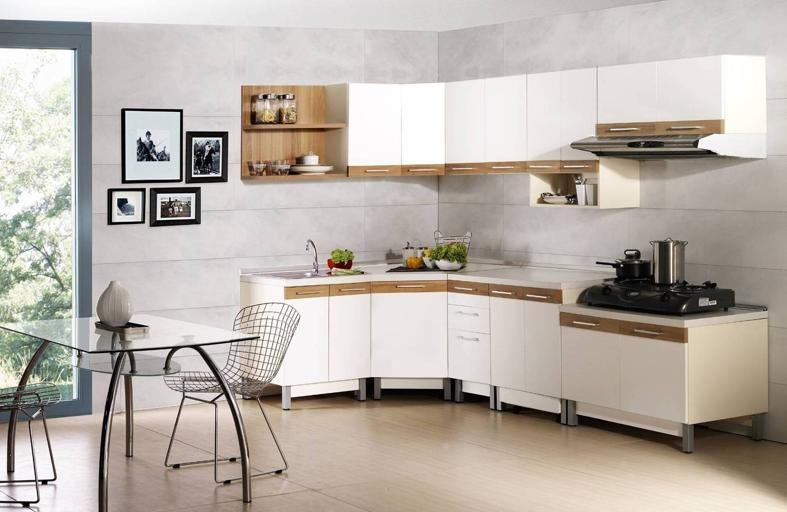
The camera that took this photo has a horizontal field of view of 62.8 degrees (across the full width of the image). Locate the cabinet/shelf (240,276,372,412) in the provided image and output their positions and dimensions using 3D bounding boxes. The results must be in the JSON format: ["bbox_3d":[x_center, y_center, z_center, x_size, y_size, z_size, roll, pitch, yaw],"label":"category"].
[{"bbox_3d":[-0.860,0.807,6.861,1.448,1.697,1.284,-1,1,-29],"label":"cabinet/shelf"}]

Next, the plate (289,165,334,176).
[{"bbox_3d":[-0.846,-0.895,6.785,0.446,0.110,0.210,-1,5,-7],"label":"plate"}]

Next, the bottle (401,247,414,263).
[{"bbox_3d":[0.164,-0.001,6.854,0.176,0.158,0.164,2,-4,3],"label":"bottle"}]

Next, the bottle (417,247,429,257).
[{"bbox_3d":[0.310,-0.040,6.786,0.116,0.109,0.107,0,6,-4],"label":"bottle"}]

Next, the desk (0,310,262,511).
[{"bbox_3d":[-1.845,0.644,4.496,1.288,1.222,2.130,1,1,-36],"label":"desk"}]

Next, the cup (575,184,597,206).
[{"bbox_3d":[1.786,-0.562,5.957,0.218,0.185,0.130,3,6,30],"label":"cup"}]

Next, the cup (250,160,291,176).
[{"bbox_3d":[-1.265,-0.908,6.702,0.449,0.159,0.173,-3,6,-34],"label":"cup"}]

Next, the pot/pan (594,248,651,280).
[{"bbox_3d":[2.037,0.074,5.688,0.496,0.208,0.268,-2,3,-33],"label":"pot/pan"}]

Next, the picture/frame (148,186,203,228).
[{"bbox_3d":[-2.164,-0.483,6.345,0.478,0.340,0.019,-1,3,-21],"label":"picture/frame"}]

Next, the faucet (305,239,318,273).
[{"bbox_3d":[-0.837,-0.006,6.686,0.146,0.337,0.517,-1,5,-7],"label":"faucet"}]

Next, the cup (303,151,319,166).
[{"bbox_3d":[-0.874,-1.031,6.870,0.176,0.156,0.300,-1,5,-4],"label":"cup"}]

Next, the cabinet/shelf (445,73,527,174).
[{"bbox_3d":[0.963,-1.326,6.562,1.215,1.001,0.398,2,3,41],"label":"cabinet/shelf"}]

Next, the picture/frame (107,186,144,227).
[{"bbox_3d":[-2.547,-0.470,6.181,0.393,0.340,0.032,1,0,13],"label":"picture/frame"}]

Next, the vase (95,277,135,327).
[{"bbox_3d":[-1.945,0.345,4.743,0.342,0.355,0.313,0,6,-11],"label":"vase"}]

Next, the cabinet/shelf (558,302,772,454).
[{"bbox_3d":[2.286,0.744,5.612,1.252,1.143,1.576,0,0,-33],"label":"cabinet/shelf"}]

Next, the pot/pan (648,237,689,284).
[{"bbox_3d":[2.279,0.047,5.469,0.398,0.390,0.360,0,5,-4],"label":"pot/pan"}]
